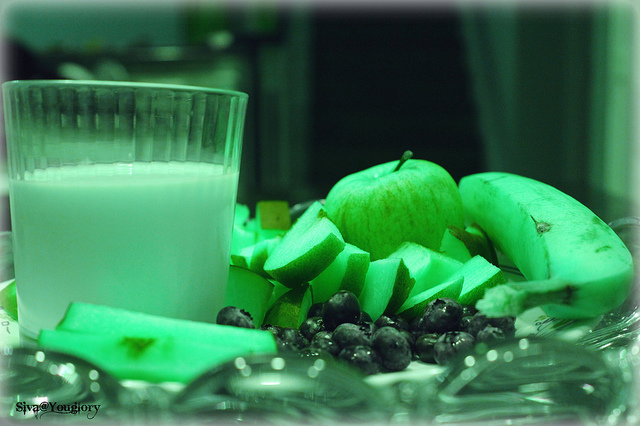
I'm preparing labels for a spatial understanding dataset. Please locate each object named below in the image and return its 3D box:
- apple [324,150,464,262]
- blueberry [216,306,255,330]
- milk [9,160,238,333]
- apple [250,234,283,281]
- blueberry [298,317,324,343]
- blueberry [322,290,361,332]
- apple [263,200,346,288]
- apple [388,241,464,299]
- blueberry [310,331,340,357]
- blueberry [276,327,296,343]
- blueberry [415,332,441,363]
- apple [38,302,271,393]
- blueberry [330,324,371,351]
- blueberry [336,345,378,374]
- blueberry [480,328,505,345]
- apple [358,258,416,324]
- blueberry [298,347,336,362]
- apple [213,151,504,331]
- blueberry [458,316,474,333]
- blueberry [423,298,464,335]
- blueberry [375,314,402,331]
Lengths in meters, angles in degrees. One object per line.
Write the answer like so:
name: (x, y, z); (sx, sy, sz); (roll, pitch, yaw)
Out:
apple: (0.167, -0.013, 1.322); (0.242, 0.223, 0.243); (-2, 3, 16)
blueberry: (-0.130, 0.166, 0.993); (0.039, 0.022, 0.044); (8, 1, -7)
milk: (-0.314, 0.042, 1.085); (0.316, 0.215, 0.283); (2, 0, -45)
apple: (-0.092, 0.079, 1.134); (0.057, 0.039, 0.062); (9, 11, 7)
blueberry: (-0.013, 0.184, 1.022); (0.035, 0.040, 0.033); (20, -25, 11)
blueberry: (0.035, 0.165, 1.044); (0.067, 0.075, 0.064); (3, 1, -39)
apple: (-0.031, 0.054, 1.137); (0.134, 0.142, 0.201); (-4, -1, -3)
apple: (0.186, 0.097, 1.106); (0.122, 0.086, 0.113); (-2, 1, 21)
blueberry: (0.008, 0.199, 0.973); (0.032, 0.037, 0.031); (3, 9, 6)
blueberry: (-0.051, 0.189, 0.984); (0.019, 0.022, 0.019); (-1, 17, 5)
blueberry: (0.158, 0.205, 0.980); (0.038, 0.040, 0.037); (5, -18, -8)
apple: (-0.242, 0.201, 0.914); (0.308, 0.103, 0.049); (1, -34, 3)
blueberry: (0.051, 0.186, 0.977); (0.045, 0.042, 0.042); (3, 0, 1)
blueberry: (0.056, 0.213, 0.942); (0.044, 0.050, 0.044); (-1, 8, -2)
blueberry: (0.265, 0.187, 0.980); (0.042, 0.023, 0.034); (-3, -1, -12)
apple: (0.104, 0.125, 1.055); (0.086, 0.095, 0.117); (-2, 6, 1)
blueberry: (-0.005, 0.207, 0.921); (0.048, 0.019, 0.032); (-4, -1, 40)
apple: (0.079, 0.074, 1.133); (0.348, 0.173, 0.337); (-14, 3, -5)
blueberry: (0.228, 0.178, 1.010); (0.022, 0.025, 0.022); (2, 4, 3)
blueberry: (0.192, 0.163, 1.016); (0.046, 0.052, 0.056); (3, 7, -1)
blueberry: (0.112, 0.178, 1.033); (0.043, 0.024, 0.037); (-4, -1, -8)
